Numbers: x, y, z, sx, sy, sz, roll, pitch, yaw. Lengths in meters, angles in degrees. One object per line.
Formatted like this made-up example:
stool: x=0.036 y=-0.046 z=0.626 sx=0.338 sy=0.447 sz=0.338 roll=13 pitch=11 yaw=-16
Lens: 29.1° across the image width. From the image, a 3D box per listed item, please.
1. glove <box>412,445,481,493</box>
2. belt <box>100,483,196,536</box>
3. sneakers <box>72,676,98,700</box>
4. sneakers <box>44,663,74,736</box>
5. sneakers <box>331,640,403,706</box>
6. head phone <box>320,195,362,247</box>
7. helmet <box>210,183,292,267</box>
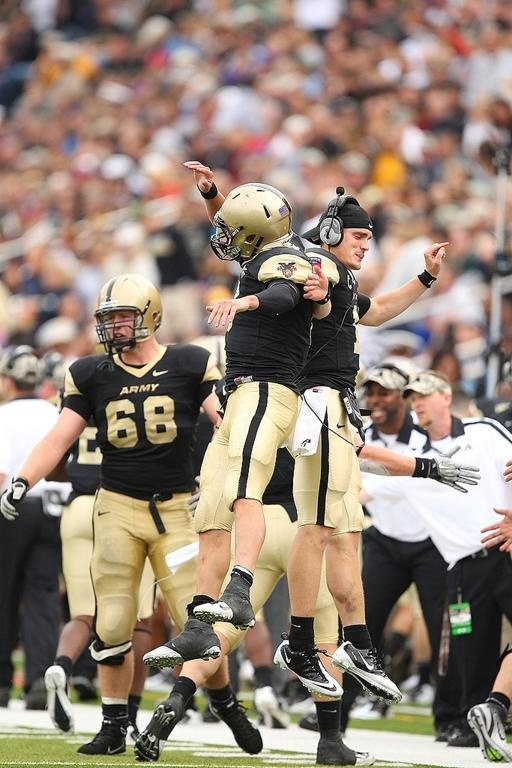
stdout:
glove: x=0.767 y=0.349 z=3.991 sx=0.253 sy=0.087 sz=0.161 roll=14 pitch=56 yaw=15
belt: x=-0.452 y=0.544 z=4.095 sx=0.397 sy=0.229 sz=0.215 roll=4 pitch=-14 yaw=-12
sneakers: x=-1.225 y=2.198 z=7.181 sx=0.175 sy=0.154 sz=0.270 roll=6 pitch=3 yaw=-10
sneakers: x=-0.924 y=1.499 z=4.717 sx=0.133 sy=0.320 sz=0.147 roll=-14 pitch=-2 yaw=6
sneakers: x=0.404 y=1.082 z=3.637 sx=0.255 sy=0.234 sz=0.201 roll=5 pitch=15 yaw=2
head phone: x=0.358 y=-0.658 z=3.999 sx=0.111 sy=0.229 sz=0.269 roll=6 pitch=-1 yaw=28
helmet: x=-0.003 y=-0.607 z=3.711 sx=0.366 sy=0.279 sz=0.254 roll=4 pitch=13 yaw=8
